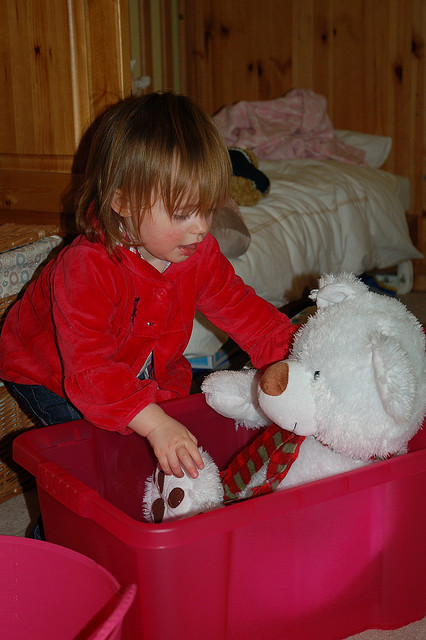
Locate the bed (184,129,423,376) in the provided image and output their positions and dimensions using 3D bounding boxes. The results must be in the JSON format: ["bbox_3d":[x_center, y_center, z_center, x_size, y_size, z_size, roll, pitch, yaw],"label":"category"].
[{"bbox_3d":[0.344,-0.366,1.995,0.692,0.441,1.080,29,38,36],"label":"bed"}]
